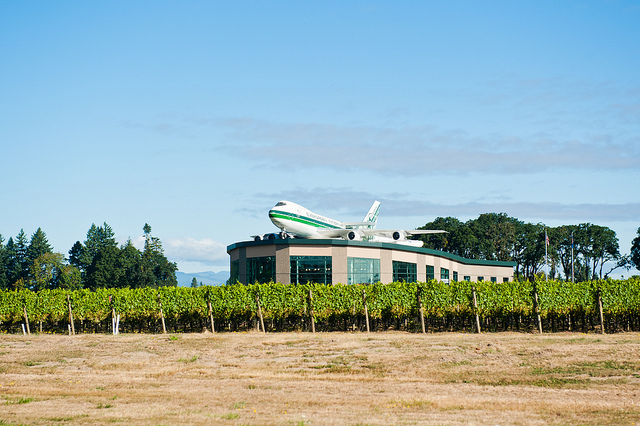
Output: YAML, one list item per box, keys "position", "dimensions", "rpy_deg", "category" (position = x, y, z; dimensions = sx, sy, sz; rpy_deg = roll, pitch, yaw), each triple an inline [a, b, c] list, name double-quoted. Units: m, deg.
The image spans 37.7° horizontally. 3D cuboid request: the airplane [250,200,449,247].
- position: [1.271, 1.445, 110.290]
  dimensions: [11.842, 3.199, 9.833]
  rpy_deg: [-2, -14, 44]
  category: "airplane"
